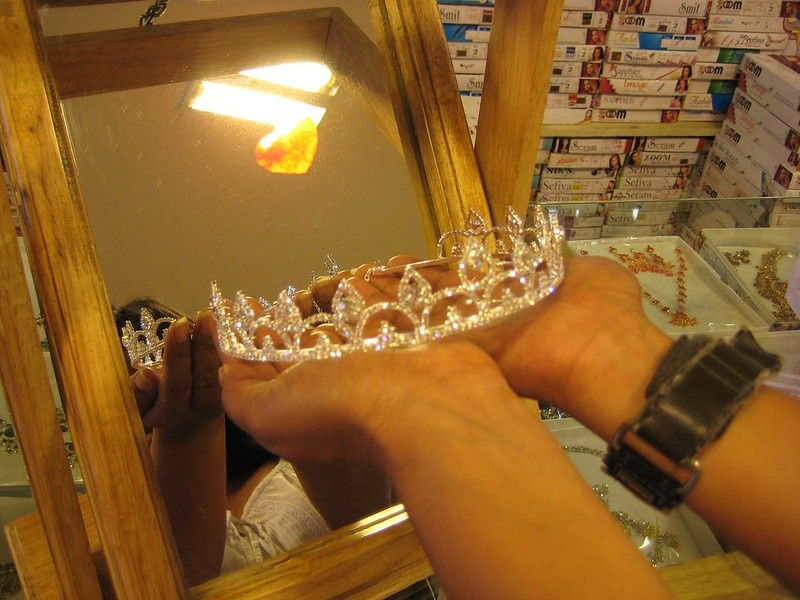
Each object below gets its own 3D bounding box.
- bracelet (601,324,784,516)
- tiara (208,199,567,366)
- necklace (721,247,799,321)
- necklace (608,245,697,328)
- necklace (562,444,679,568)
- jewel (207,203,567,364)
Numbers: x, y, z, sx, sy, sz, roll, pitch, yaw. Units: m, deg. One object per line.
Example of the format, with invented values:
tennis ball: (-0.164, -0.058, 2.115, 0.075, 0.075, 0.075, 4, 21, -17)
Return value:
bracelet: (0.294, 0.127, 0.574, 0.154, 0.170, 0.076, -13, 23, -23)
tiara: (-0.061, 0.019, 0.868, 0.436, 0.096, 0.436, -10, 1, -22)
necklace: (0.849, -0.031, 1.346, 0.157, 0.022, 0.207, -5, 46, 17)
necklace: (0.586, -0.039, 1.266, 0.121, 0.011, 0.211, 1, 37, -5)
necklace: (0.281, 0.311, 0.800, 0.162, 0.040, 0.149, 20, 28, -29)
jewel: (-0.006, 0.008, 0.713, 0.302, 0.066, 0.299, -25, 15, -8)
